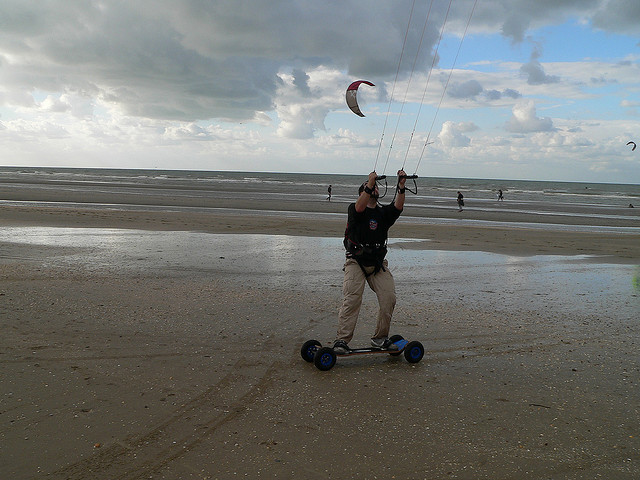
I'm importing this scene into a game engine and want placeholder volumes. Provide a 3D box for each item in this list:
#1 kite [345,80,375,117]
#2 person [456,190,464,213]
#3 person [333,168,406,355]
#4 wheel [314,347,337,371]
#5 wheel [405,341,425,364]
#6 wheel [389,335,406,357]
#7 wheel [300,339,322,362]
[{"bbox_3d":[0.545,-2.303,7.917,0.262,0.542,0.273,3,12,1],"label":"kite"},{"bbox_3d":[9.843,-2.640,34.549,0.363,1.281,2.315,6,12,14],"label":"person"},{"bbox_3d":[0.716,0.321,7.287,1.035,2.691,0.911,0,13,-8],"label":"person"},{"bbox_3d":[0.066,1.698,6.953,0.359,0.310,0.131,-4,10,-27],"label":"wheel"},{"bbox_3d":[1.384,1.677,7.257,0.343,0.300,0.120,10,-5,-38],"label":"wheel"},{"bbox_3d":[1.153,1.640,7.453,0.228,0.327,0.397,4,12,8],"label":"wheel"},{"bbox_3d":[-0.135,1.627,7.130,0.342,0.294,0.113,2,16,-18],"label":"wheel"}]
